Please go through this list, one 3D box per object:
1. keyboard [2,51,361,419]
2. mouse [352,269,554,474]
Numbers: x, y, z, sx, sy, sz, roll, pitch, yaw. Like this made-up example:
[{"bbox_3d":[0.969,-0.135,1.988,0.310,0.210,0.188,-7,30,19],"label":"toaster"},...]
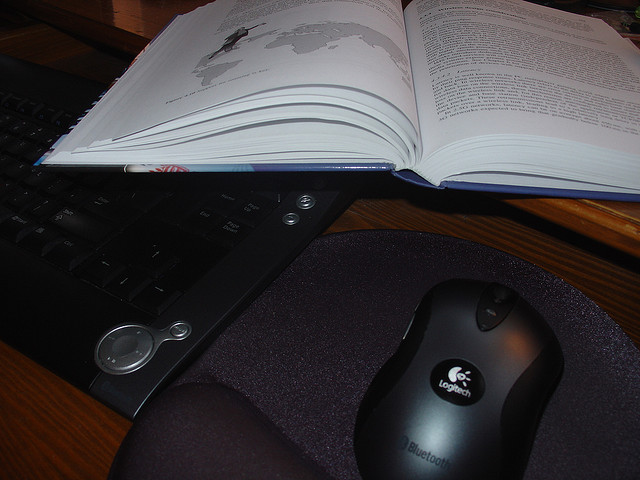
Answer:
[{"bbox_3d":[-0.132,0.018,0.495,0.407,0.268,0.049,27,-37,21],"label":"keyboard"},{"bbox_3d":[0.107,0.111,0.403,0.108,0.164,0.043,38,-15,14],"label":"mouse"}]
